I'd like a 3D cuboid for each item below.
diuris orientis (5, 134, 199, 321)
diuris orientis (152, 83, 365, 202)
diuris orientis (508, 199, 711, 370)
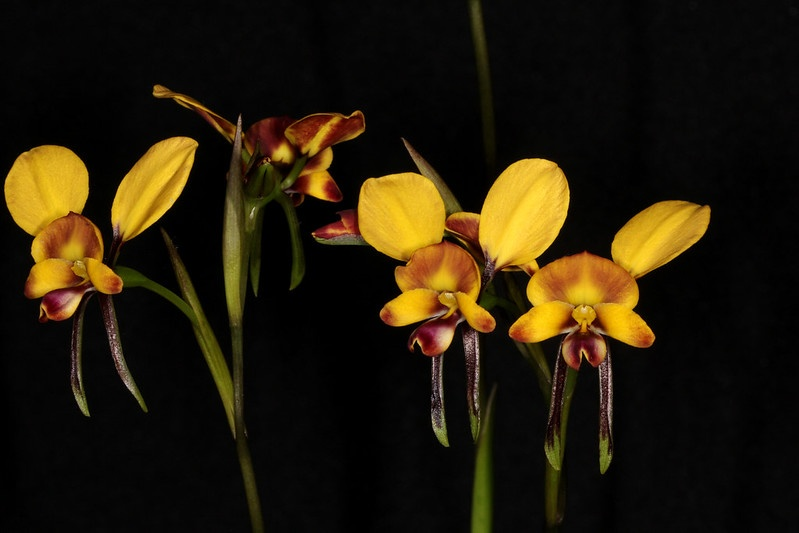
[{"bbox_3d":[-0.298,-0.047,0.884,0.198,0.177,0.083,12,11,0],"label":"diuris orientis"},{"bbox_3d":[-0.116,-0.101,0.878,0.181,0.077,0.147,12,-24,-38],"label":"diuris orientis"},{"bbox_3d":[0.194,-0.001,0.782,0.145,0.178,0.074,18,16,4],"label":"diuris orientis"}]
